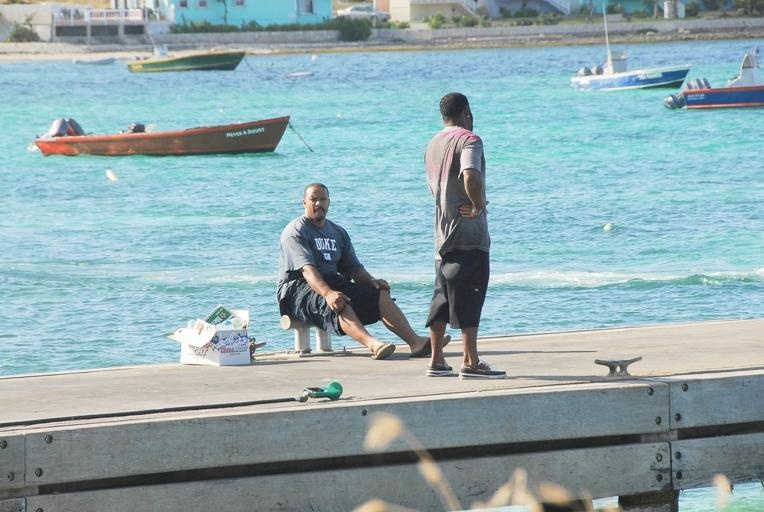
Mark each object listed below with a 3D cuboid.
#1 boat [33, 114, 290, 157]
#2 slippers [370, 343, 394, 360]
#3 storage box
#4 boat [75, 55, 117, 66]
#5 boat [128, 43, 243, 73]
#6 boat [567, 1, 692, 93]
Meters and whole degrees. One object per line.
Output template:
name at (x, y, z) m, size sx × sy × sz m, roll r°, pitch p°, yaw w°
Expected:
boat at (-13.695, -7.016, 122.291) m, size 15.670 × 1.907 × 3.205 m, roll -1°, pitch 6°, yaw 12°
slippers at (0.036, 4.641, 95.310) m, size 1.211 × 0.422 × 0.586 m, roll -30°, pitch -26°, yaw 27°
storage box at (-8.060, 3.934, 95.734) m, size 2.330 × 2.650 × 3.978 m, roll 1°, pitch 0°, yaw -27°
boat at (-23.152, -15.708, 161.884) m, size 3.843 × 0.660 × 1.408 m, roll 5°, pitch 11°, yaw 37°
boat at (-15.338, -15.348, 151.958) m, size 10.602 × 2.196 × 3.024 m, roll -1°, pitch 3°, yaw 15°
boat at (17.504, -12.862, 140.660) m, size 3.470 × 2.577 × 8.323 m, roll -10°, pitch 12°, yaw -37°
